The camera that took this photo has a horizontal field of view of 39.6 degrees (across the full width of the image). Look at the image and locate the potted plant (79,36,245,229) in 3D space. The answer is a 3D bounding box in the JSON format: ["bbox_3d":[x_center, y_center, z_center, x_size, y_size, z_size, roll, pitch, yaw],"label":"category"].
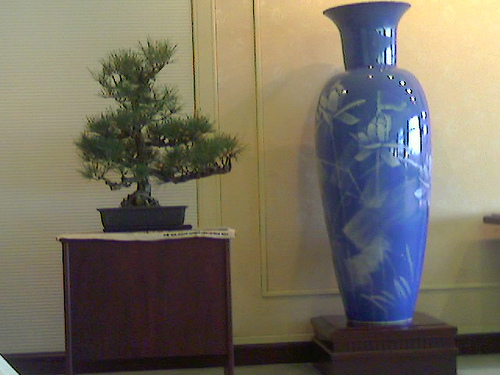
[{"bbox_3d":[-0.560,-0.265,3.626,0.660,1.086,0.836,0,3,-6],"label":"potted plant"}]
